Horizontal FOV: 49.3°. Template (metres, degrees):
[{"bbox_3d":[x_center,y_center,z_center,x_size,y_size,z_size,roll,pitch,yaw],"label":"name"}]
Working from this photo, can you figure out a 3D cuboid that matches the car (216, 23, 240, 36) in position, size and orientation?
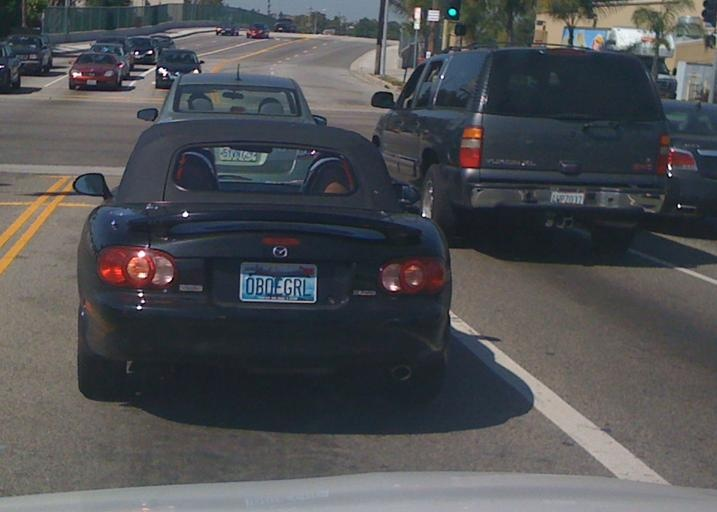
[{"bbox_3d":[-15.388,-26.575,92.055,2.447,1.334,1.824,0,13,-11],"label":"car"}]

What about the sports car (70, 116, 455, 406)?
[{"bbox_3d":[-0.936,-0.261,6.905,2.453,1.799,4.484,1,12,-12],"label":"sports car"}]

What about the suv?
[{"bbox_3d":[2.091,-1.842,12.561,3.366,2.560,6.428,0,12,-11],"label":"suv"}]

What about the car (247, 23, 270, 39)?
[{"bbox_3d":[-11.661,-25.898,90.240,1.818,1.745,2.851,4,13,7],"label":"car"}]
